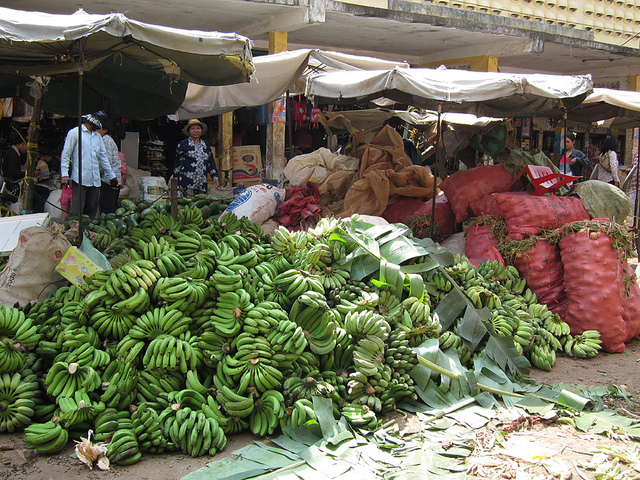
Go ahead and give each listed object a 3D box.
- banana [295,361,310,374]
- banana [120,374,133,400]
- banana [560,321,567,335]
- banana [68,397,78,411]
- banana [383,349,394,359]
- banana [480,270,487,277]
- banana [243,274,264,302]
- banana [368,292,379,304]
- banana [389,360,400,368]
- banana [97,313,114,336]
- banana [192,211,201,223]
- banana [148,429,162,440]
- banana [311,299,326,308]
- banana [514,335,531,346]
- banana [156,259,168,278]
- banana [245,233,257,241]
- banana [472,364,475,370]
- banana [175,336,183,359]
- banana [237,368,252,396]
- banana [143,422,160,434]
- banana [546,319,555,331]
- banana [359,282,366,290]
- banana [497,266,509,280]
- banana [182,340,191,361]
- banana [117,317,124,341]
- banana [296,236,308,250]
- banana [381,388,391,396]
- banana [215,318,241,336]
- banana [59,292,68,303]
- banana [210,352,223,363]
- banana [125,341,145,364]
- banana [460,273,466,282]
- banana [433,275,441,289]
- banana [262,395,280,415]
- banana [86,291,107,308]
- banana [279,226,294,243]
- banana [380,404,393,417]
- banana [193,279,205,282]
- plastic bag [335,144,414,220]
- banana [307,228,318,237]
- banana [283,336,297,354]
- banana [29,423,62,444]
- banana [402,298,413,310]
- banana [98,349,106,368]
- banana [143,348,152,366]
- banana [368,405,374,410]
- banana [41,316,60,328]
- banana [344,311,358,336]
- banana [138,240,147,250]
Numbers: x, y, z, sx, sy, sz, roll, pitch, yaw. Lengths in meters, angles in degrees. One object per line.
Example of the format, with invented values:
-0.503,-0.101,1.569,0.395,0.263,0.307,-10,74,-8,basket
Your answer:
-0.123,1.032,3.852,0.040,0.156,0.055,-45,-5,12,banana
-1.451,1.091,3.548,0.040,0.184,0.063,19,-1,-21,banana
2.671,0.959,5.187,0.034,0.123,0.041,-23,-36,5,banana
-1.792,1.182,3.447,0.042,0.029,0.137,-21,33,-35,banana
0.576,0.949,3.967,0.027,0.107,0.047,45,9,9,banana
1.826,0.359,5.236,0.103,0.066,0.060,1,-1,-22,banana
-0.550,0.389,3.955,0.057,0.212,0.166,-29,-55,29,banana
0.476,0.506,4.171,0.084,0.093,0.223,0,-2,9,banana
0.630,1.034,3.974,0.088,0.067,0.044,0,-1,-4,banana
-1.674,0.663,3.723,0.041,0.210,0.054,25,-17,23,banana
-1.162,-0.217,4.516,0.067,0.084,0.028,24,5,-26,banana
-1.193,1.411,3.443,0.106,0.033,0.037,-42,18,-15,banana
-0.011,0.517,3.887,0.045,0.136,0.037,-46,8,34,banana
2.041,1.006,4.792,0.145,0.073,0.051,32,-32,11,banana
-1.286,0.227,3.868,0.047,0.172,0.058,-20,10,31,banana
-0.670,-0.038,4.608,0.052,0.038,0.193,-27,4,6,banana
1.427,1.169,4.387,0.015,0.031,0.027,4,-9,-1,banana
-1.073,0.820,3.625,0.049,0.145,0.035,7,-29,-12,banana
-0.559,1.084,3.626,0.053,0.250,0.086,19,-16,10,banana
-1.216,1.364,3.444,0.130,0.037,0.044,-36,15,-13,banana
2.517,0.922,5.175,0.152,0.039,0.034,-49,10,-35,banana
0.388,0.413,4.311,0.047,0.060,0.034,-9,7,0,banana
2.065,0.370,5.358,0.162,0.042,0.058,-48,16,-26,banana
-1.028,0.851,3.662,0.057,0.136,0.079,1,-2,-41,banana
-1.554,0.697,3.714,0.031,0.176,0.042,-3,13,28,banana
-0.162,0.026,4.400,0.040,0.146,0.038,28,-4,3,banana
0.546,1.239,3.889,0.021,0.025,0.077,14,28,40,banana
-0.699,0.701,3.799,0.077,0.149,0.217,-29,-23,37,banana
-2.160,0.478,3.988,0.052,0.074,0.119,1,-2,-23,banana
-0.808,0.922,3.715,0.077,0.083,0.068,0,-1,18,banana
-1.409,0.845,3.620,0.051,0.234,0.083,32,-31,-8,banana
1.513,0.389,5.012,0.057,0.087,0.019,5,-4,16,banana
1.194,0.426,4.801,0.073,0.117,0.028,-22,-9,38,banana
-0.353,1.236,3.590,0.053,0.112,0.192,-10,36,-39,banana
-1.743,0.456,3.710,0.155,0.119,0.035,0,-1,1,banana
-0.326,-0.070,4.478,0.038,0.157,0.093,-43,-17,-4,banana
0.546,1.393,3.914,0.125,0.068,0.041,-32,11,-35,banana
-0.985,0.325,3.869,0.103,0.023,0.029,4,28,32,banana
0.853,-0.854,7.243,1.090,1.117,0.380,-1,-20,6,plastic bag
-0.069,-0.082,4.563,0.087,0.072,0.140,0,-2,-4,banana
-0.232,0.823,3.719,0.040,0.148,0.050,25,-17,4,banana
-1.940,1.362,3.340,0.049,0.103,0.134,27,28,33,banana
0.795,0.582,4.354,0.109,0.097,0.055,1,-1,-21,banana
-1.642,0.893,3.594,0.079,0.040,0.145,4,38,-15,banana
-1.323,0.886,3.605,0.061,0.123,0.050,0,-1,19,banana
0.404,1.331,3.783,0.038,0.050,0.016,-6,16,-23,banana
-2.163,0.648,3.795,0.150,0.084,0.040,0,-1,7,banana
0.258,0.700,4.016,0.093,0.191,0.086,0,-1,34,banana
-1.526,0.031,4.066,0.061,0.090,0.021,-14,-13,11,banana
